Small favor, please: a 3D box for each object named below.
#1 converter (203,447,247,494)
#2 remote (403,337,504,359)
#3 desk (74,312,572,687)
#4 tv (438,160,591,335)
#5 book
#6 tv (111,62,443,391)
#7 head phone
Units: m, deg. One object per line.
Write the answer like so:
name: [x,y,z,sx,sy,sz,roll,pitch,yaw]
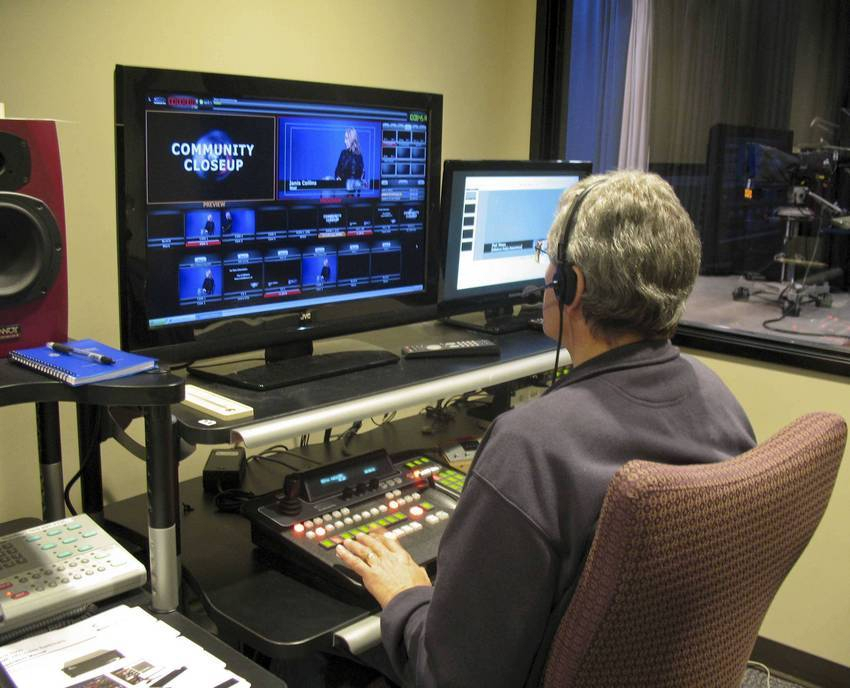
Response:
converter: [-0.543,0.336,1.876,0.095,0.061,0.168,2,12,-10]
remote: [0.071,0.012,1.821,0.196,0.035,0.093,1,10,-9]
desk: [-0.337,0.126,1.604,0.621,0.245,1.002,14,25,40]
tv: [0.208,-0.260,1.763,0.422,0.376,0.155,-14,21,-39]
book: [-0.625,0.025,1.261,0.250,0.046,0.162,9,18,34]
tv: [-0.342,-0.256,1.568,0.753,0.593,0.059,-8,15,-40]
head phone: [0.224,-0.152,1.098,0.047,0.150,0.111,7,21,32]
